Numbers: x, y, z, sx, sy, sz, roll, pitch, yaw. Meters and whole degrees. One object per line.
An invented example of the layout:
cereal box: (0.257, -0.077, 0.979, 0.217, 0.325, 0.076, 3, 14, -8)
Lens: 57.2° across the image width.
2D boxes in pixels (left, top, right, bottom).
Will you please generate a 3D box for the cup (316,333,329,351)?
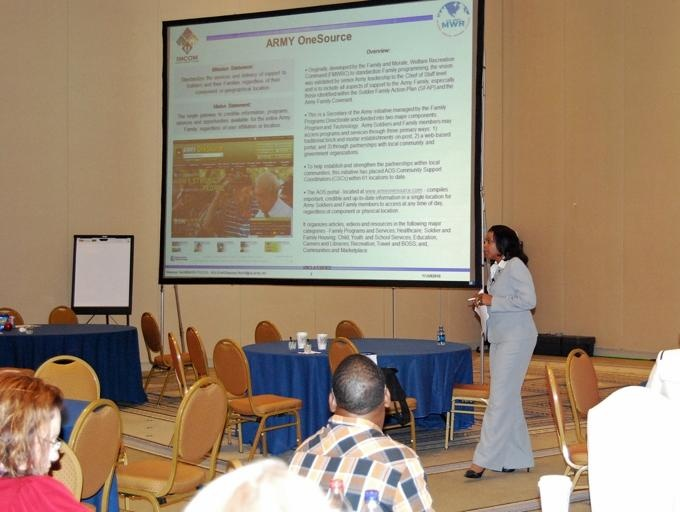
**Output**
cup: (-0.174, 0.806, 5.854, 0.116, 0.154, 0.129, -2, -3, 2)

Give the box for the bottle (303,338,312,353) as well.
bottle: (-0.314, 0.841, 5.787, 0.069, 0.143, 0.077, 1, 2, 9)

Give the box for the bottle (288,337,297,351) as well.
bottle: (-0.453, 0.829, 5.848, 0.072, 0.144, 0.119, 3, 2, 38)

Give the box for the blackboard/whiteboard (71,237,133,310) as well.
blackboard/whiteboard: (-3.292, 0.255, 8.588, 0.795, 1.151, 0.076, 0, -5, -5)

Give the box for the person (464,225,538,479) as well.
person: (1.255, 0.724, 4.835, 0.502, 1.928, 0.309, -1, -4, 20)
